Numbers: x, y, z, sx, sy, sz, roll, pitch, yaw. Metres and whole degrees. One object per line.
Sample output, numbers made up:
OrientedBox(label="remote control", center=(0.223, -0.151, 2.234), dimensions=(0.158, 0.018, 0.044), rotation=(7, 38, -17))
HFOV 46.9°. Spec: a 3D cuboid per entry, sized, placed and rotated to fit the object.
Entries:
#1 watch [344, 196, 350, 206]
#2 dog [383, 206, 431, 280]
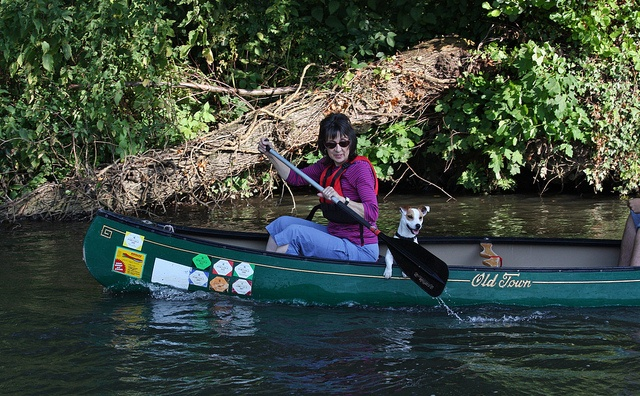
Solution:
OrientedBox(label="watch", center=(0.295, 0.038, 8.521), dimensions=(0.059, 0.080, 0.088), rotation=(15, 3, 5))
OrientedBox(label="dog", center=(1.034, 0.546, 9.202), dimensions=(0.415, 0.797, 1.297), rotation=(1, -5, -5))
